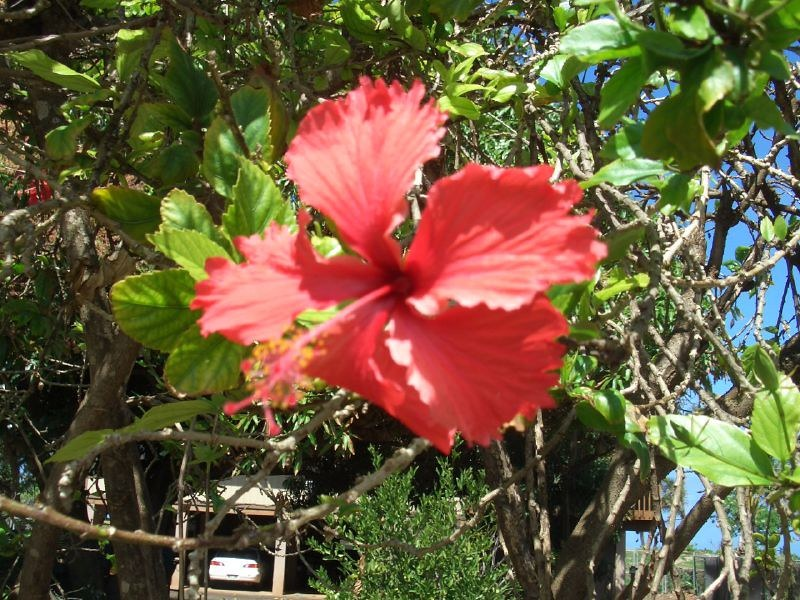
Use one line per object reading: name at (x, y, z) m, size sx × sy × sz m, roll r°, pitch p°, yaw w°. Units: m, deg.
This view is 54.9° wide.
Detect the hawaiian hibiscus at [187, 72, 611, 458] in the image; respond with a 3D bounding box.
hawaiian hibiscus at (0.045, -0.057, 1.409) m, size 0.746 × 0.290 × 0.765 m, roll -14°, pitch 22°, yaw -37°
